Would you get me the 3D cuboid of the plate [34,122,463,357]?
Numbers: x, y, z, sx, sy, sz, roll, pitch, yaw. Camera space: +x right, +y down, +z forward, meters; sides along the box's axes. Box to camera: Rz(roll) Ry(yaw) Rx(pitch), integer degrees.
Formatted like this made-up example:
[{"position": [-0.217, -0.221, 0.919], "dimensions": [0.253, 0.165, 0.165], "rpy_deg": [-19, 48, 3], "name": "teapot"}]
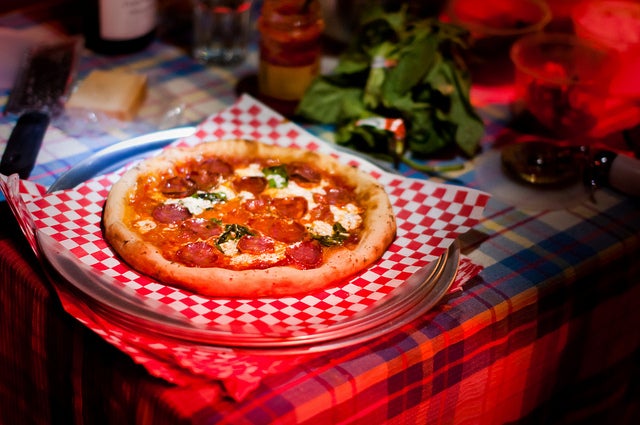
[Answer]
[{"position": [-0.084, 0.054, 0.818], "dimensions": [0.379, 0.039, 0.372], "rpy_deg": [5, 34, -3], "name": "plate"}]
